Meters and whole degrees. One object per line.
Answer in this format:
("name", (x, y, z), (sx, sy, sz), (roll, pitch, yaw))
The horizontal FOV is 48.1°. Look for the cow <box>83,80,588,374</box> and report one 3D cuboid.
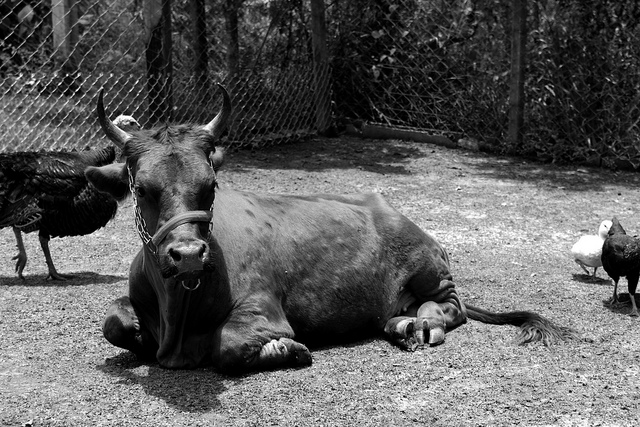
("cow", (0.525, 0.423, 6.611), (5.033, 2.288, 1.941), (10, -16, -38))
